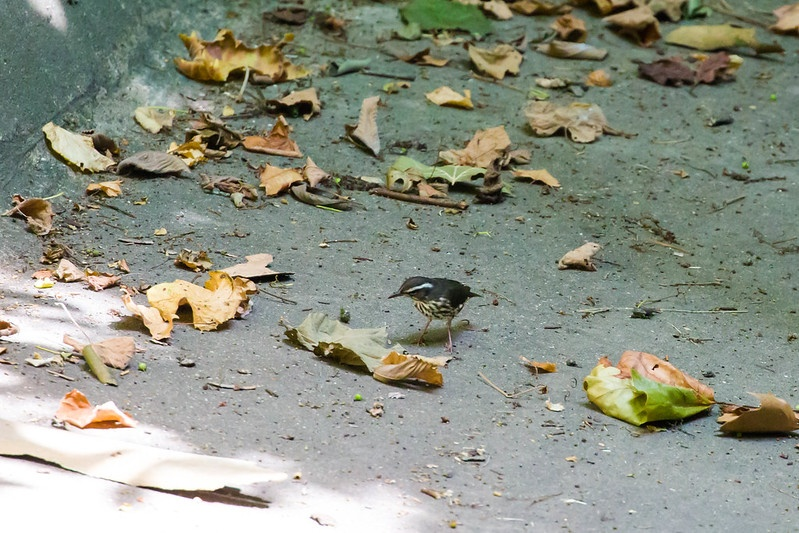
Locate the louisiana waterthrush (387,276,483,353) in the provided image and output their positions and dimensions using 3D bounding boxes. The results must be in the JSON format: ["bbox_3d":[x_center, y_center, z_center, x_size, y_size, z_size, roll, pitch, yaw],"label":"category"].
[{"bbox_3d":[0.234,0.315,5.884,0.505,0.519,0.447,15,46,13],"label":"louisiana waterthrush"}]
